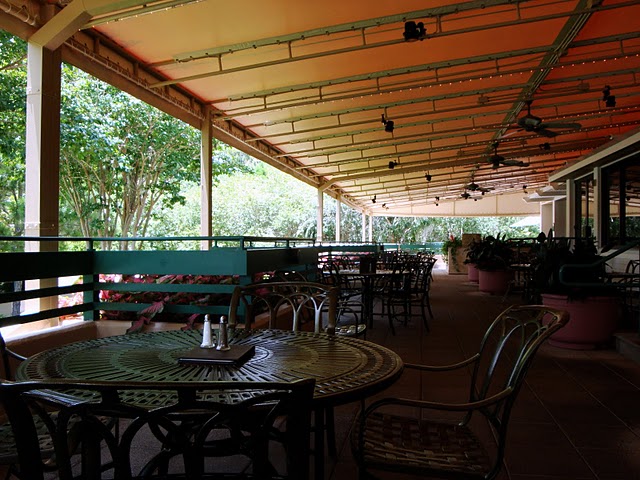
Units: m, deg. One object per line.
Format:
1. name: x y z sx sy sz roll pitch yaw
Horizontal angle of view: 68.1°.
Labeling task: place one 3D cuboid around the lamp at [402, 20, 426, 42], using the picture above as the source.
1. lamp: 1.203 -2.632 5.987 0.275 0.213 0.336 -2 0 4
